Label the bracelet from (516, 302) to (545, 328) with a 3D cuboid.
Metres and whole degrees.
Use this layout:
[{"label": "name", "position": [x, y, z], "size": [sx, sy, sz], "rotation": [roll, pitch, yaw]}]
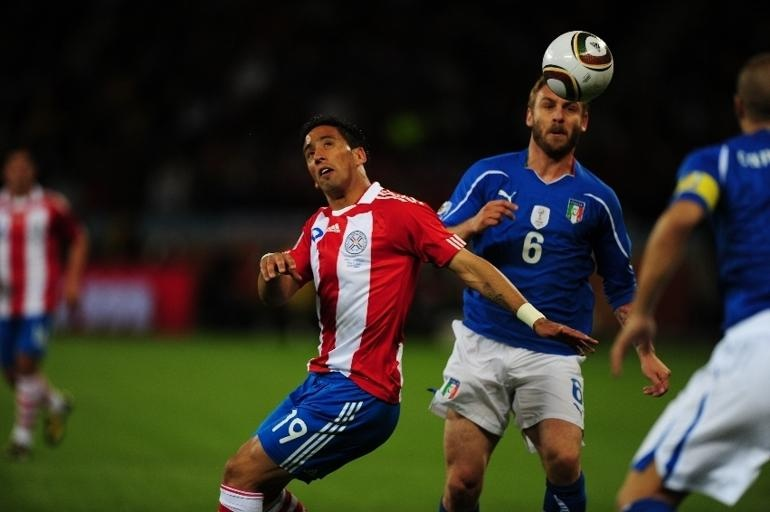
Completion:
[{"label": "bracelet", "position": [1.270, 0.510, 7.704], "size": [0.186, 0.133, 0.124], "rotation": [34, -1, 25]}]
